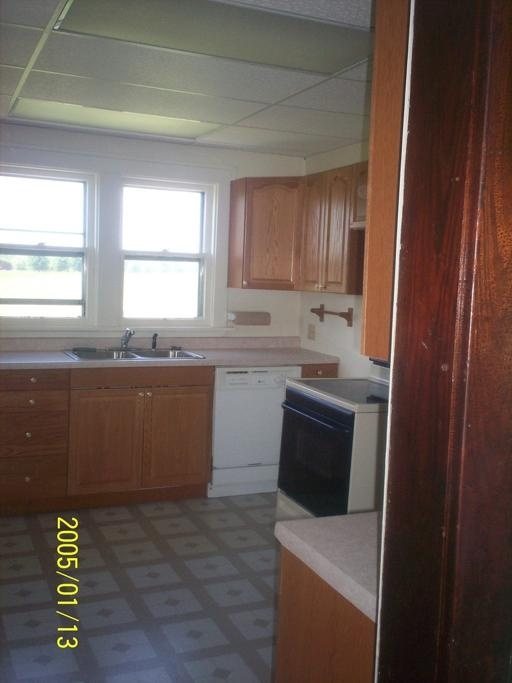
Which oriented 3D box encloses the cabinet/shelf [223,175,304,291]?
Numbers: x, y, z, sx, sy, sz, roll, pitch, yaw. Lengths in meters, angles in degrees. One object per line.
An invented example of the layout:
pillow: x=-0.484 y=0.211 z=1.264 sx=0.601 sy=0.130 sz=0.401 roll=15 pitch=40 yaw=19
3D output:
cabinet/shelf: x=0.208 y=-0.796 z=4.202 sx=0.624 sy=0.851 sz=0.640 roll=0 pitch=4 yaw=-20

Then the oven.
oven: x=0.436 y=0.558 z=2.593 sx=0.466 sy=0.630 sz=0.698 roll=5 pitch=0 yaw=-18

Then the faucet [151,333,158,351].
faucet: x=-0.742 y=0.000 z=4.025 sx=0.044 sy=0.121 sz=0.168 roll=1 pitch=3 yaw=-11

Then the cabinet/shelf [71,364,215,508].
cabinet/shelf: x=-0.824 y=0.522 z=3.724 sx=0.949 sy=0.861 sz=0.530 roll=1 pitch=8 yaw=-29

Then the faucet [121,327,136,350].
faucet: x=-0.923 y=-0.021 z=3.975 sx=0.095 sy=0.144 sz=0.177 roll=1 pitch=3 yaw=-13
